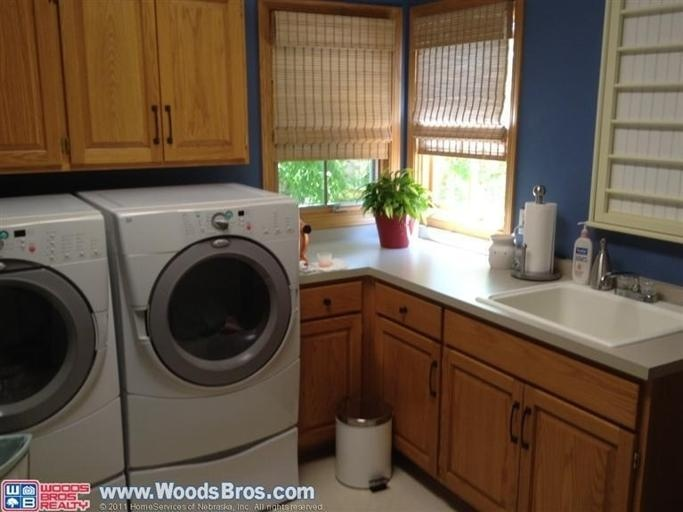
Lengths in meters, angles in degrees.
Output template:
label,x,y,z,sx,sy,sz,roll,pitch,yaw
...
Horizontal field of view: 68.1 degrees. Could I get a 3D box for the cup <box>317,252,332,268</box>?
label,x,y,z,sx,sy,sz,roll,pitch,yaw
cup,-0.094,0.016,2.778,0.068,0.074,0.068,0,17,0

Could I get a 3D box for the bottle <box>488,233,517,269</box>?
label,x,y,z,sx,sy,sz,roll,pitch,yaw
bottle,0.878,-0.026,2.784,0.135,0.172,0.145,-1,10,0

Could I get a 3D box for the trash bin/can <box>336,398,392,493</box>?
label,x,y,z,sx,sy,sz,roll,pitch,yaw
trash bin/can,0.096,0.966,2.784,0.298,0.428,0.314,-4,10,-25
